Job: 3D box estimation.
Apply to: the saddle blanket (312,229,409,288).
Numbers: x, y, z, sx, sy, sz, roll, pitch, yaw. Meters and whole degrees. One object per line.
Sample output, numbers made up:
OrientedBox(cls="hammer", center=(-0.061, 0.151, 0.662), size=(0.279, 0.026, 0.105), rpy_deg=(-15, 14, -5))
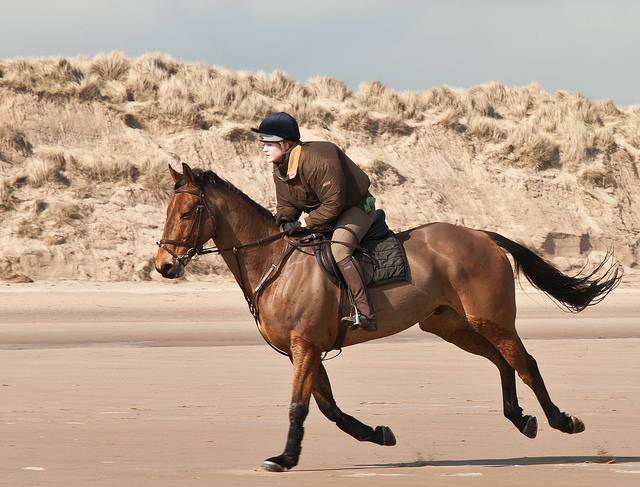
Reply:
OrientedBox(cls="saddle blanket", center=(0.501, 0.246, 19.738), size=(1.680, 1.016, 1.165), rpy_deg=(-7, 11, -35))
